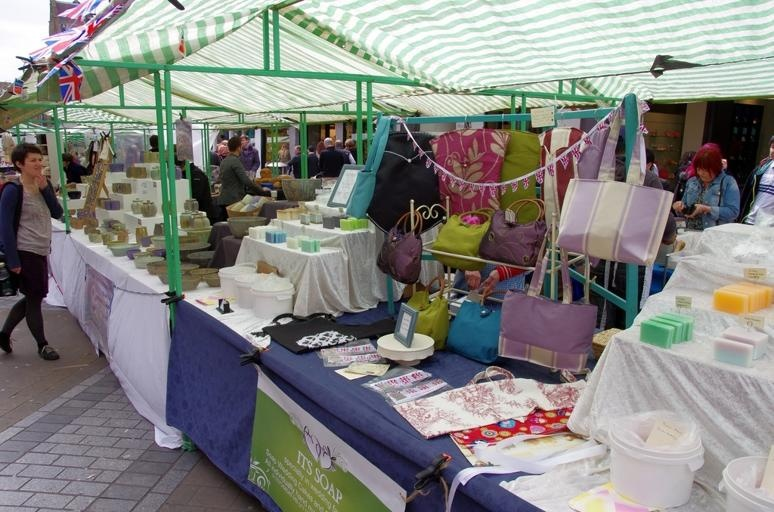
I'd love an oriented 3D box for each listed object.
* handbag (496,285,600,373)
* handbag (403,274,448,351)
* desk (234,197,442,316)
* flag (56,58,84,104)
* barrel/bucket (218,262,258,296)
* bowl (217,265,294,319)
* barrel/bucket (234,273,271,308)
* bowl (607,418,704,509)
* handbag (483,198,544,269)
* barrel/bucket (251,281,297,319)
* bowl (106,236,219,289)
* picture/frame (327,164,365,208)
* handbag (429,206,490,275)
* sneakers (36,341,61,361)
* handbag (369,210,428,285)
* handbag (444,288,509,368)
[{"bbox_3d":[1.009,0.487,3.259,0.494,0.356,0.198,15,27,22],"label":"handbag"},{"bbox_3d":[0.289,0.443,3.868,0.223,0.476,0.507,13,-4,-24],"label":"handbag"},{"bbox_3d":[-0.577,0.025,5.070,1.682,1.115,1.319,-8,1,-34],"label":"desk"},{"bbox_3d":[-2.116,-1.161,3.463,0.066,0.264,0.185,2,13,11],"label":"flag"},{"bbox_3d":[-1.345,0.200,4.580,0.287,0.175,0.284,1,7,0],"label":"barrel/bucket"},{"bbox_3d":[-1.010,0.146,4.197,0.372,0.222,0.652,-7,14,-34],"label":"bowl"},{"bbox_3d":[-1.155,0.289,4.396,0.278,0.208,0.284,0,8,0],"label":"barrel/bucket"},{"bbox_3d":[1.236,0.929,2.382,0.380,0.350,0.298,8,15,32],"label":"bowl"},{"bbox_3d":[0.900,-0.139,3.612,0.257,0.495,0.468,28,-14,-36],"label":"handbag"},{"bbox_3d":[-0.920,0.351,4.123,0.320,0.235,0.296,0,5,0],"label":"barrel/bucket"},{"bbox_3d":[-2.078,-0.015,4.840,0.860,0.468,0.803,0,17,0],"label":"bowl"},{"bbox_3d":[-0.399,-0.631,4.813,0.110,0.413,0.352,28,-11,-39],"label":"picture/frame"},{"bbox_3d":[0.580,-0.088,3.874,0.481,0.376,0.244,11,16,40],"label":"handbag"},{"bbox_3d":[-3.628,1.035,5.546,0.126,0.122,0.301,-12,17,-41],"label":"sneakers"},{"bbox_3d":[0.103,-0.086,4.206,0.370,0.552,0.571,0,12,2],"label":"handbag"},{"bbox_3d":[0.638,0.527,3.611,0.184,0.425,0.454,23,-8,-42],"label":"handbag"}]
